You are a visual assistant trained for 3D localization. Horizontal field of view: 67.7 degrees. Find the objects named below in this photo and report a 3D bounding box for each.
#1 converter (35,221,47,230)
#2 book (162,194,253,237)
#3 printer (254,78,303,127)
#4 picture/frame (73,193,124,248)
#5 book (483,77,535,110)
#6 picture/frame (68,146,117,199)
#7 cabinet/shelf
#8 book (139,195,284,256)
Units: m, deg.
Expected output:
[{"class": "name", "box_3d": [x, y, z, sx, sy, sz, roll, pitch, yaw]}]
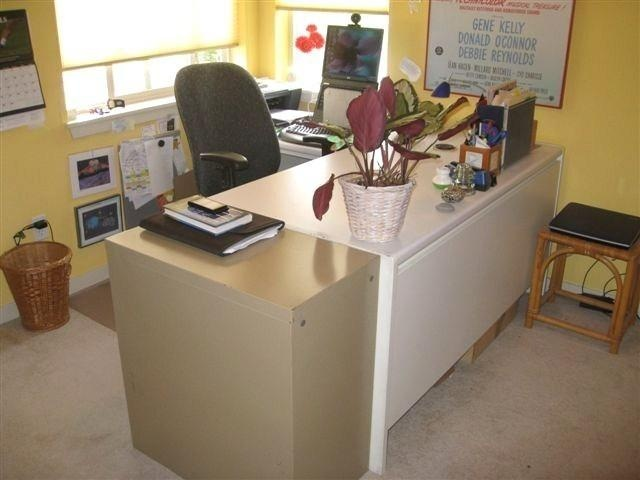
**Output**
[{"class": "converter", "box_3d": [-1.667, -0.092, 2.856, 0.044, 0.032, 0.058, 23, 33, 32]}, {"class": "book", "box_3d": [-0.424, -0.099, 1.772, 0.244, 0.042, 0.166, 18, 29, 23]}, {"class": "printer", "box_3d": [-0.309, -1.095, 3.760, 0.479, 0.226, 0.345, 26, 43, 28]}, {"class": "picture/frame", "box_3d": [-1.401, -0.131, 2.977, 0.031, 0.265, 0.296, 20, 30, 31]}, {"class": "book", "box_3d": [0.956, -0.784, 2.406, 0.258, 0.089, 0.190, -25, 33, -38]}, {"class": "picture/frame", "box_3d": [-1.463, -0.442, 3.037, 0.020, 0.279, 0.289, 22, 33, 33]}, {"class": "cabinet/shelf", "box_3d": [-0.238, 0.369, 1.641, 0.729, 0.735, 0.414, 17, 28, 35]}, {"class": "book", "box_3d": [-0.420, -0.057, 1.744, 0.341, 0.062, 0.267, 17, 31, 27]}]
